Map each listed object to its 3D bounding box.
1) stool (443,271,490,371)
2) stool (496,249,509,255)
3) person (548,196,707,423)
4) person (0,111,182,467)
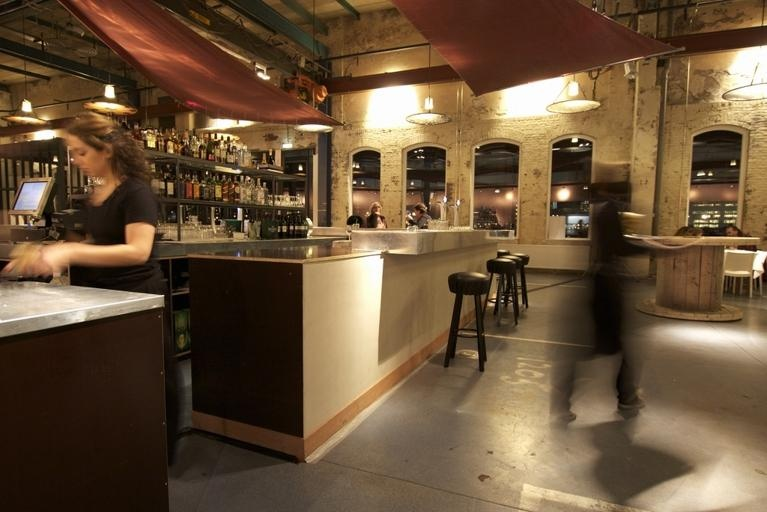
[{"bbox_3d":[0.949,0.647,6.204,0.454,1.002,1.264,2,4,10],"label":"stool"},{"bbox_3d":[1.972,-0.070,9.158,0.194,0.085,0.201,4,6,39],"label":"stool"},{"bbox_3d":[2.080,0.491,4.540,0.601,1.843,1.452,4,5,29],"label":"person"},{"bbox_3d":[-2.102,0.295,4.155,1.009,2.701,1.174,0,5,-15],"label":"person"}]
